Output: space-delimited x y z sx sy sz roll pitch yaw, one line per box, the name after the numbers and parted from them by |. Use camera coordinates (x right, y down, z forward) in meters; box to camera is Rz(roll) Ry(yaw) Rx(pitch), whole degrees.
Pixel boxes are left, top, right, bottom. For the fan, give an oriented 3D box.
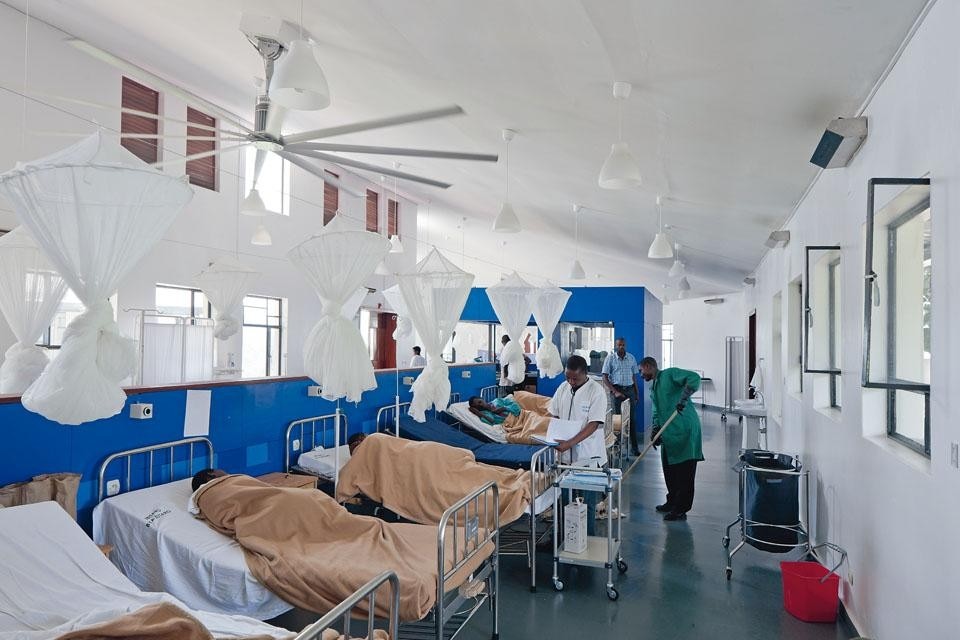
-1.424 -1.971 6.274 2.798 1.317 2.797 2 -3 7 | fan

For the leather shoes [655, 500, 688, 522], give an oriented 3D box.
2.253 2.290 7.866 0.127 0.168 0.381 -1 5 -20 | leather shoes

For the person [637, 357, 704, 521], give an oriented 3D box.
2.378 1.381 8.018 0.636 1.933 0.868 5 -15 -15 | person

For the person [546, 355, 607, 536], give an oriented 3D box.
0.994 1.401 7.230 0.853 1.960 0.765 -5 15 -14 | person

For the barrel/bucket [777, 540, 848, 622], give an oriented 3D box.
2.976 2.368 5.968 0.431 0.739 0.687 3 -4 -10 | barrel/bucket

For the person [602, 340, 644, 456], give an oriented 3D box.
2.417 1.257 11.190 0.637 1.807 0.892 0 0 18 | person

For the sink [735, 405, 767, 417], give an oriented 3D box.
3.757 1.267 9.155 0.353 0.155 0.309 2 -3 15 | sink
